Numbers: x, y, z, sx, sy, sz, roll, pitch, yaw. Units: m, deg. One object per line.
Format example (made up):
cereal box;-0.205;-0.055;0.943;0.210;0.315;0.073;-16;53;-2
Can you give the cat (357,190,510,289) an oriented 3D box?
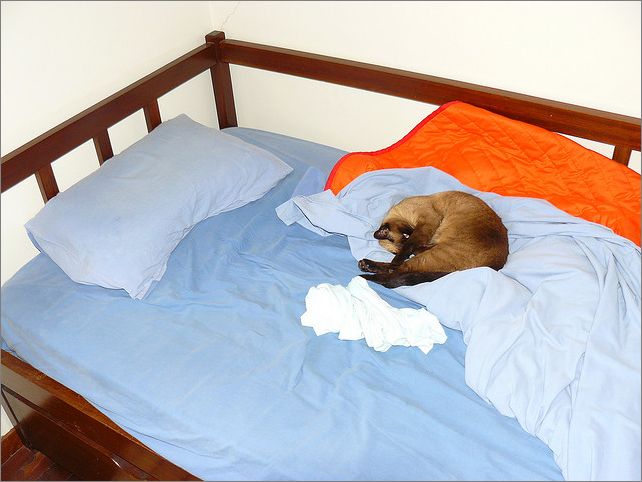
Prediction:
cat;0.417;-0.005;1.861;0.572;0.259;0.431;-4;39;-13
